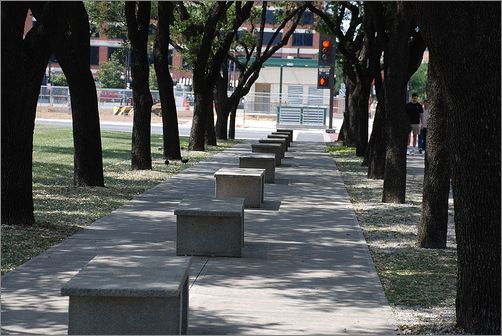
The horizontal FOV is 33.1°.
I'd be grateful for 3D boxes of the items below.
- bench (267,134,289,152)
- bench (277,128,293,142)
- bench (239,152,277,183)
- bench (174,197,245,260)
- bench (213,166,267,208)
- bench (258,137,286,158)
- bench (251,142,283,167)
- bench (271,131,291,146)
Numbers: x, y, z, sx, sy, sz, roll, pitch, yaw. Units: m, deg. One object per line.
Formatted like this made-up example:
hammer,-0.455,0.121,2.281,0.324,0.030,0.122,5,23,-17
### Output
bench,1.149,-1.015,33.889,0.825,0.520,0.753,1,2,1
bench,1.644,-1.561,40.068,0.714,0.533,0.672,0,1,11
bench,0.311,0.001,22.991,0.880,0.464,0.828,2,4,14
bench,-0.735,1.090,15.281,1.132,0.607,1.060,1,3,5
bench,-0.279,0.433,19.135,1.026,0.546,0.953,1,3,7
bench,0.839,-0.727,29.650,0.865,0.473,0.803,1,0,2
bench,0.565,-0.440,26.926,0.838,0.441,0.783,2,5,9
bench,1.333,-1.303,36.313,0.819,0.464,0.738,2,0,2
